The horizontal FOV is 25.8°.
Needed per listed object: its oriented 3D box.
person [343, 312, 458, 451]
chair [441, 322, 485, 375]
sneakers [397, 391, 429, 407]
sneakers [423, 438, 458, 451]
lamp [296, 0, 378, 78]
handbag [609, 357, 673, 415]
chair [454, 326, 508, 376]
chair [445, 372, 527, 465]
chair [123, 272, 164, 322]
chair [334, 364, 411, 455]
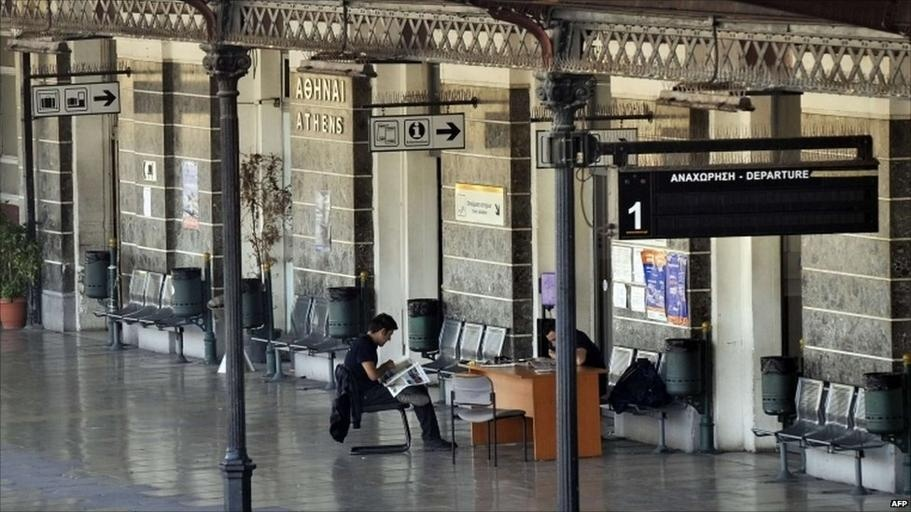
[{"bbox_3d":[-0.870,1.802,27.547,1.277,1.829,0.451,-1,11,-2],"label":"person"},{"bbox_3d":[0.107,1.409,29.884,0.671,0.744,0.487,18,0,20],"label":"chair"},{"bbox_3d":[-0.557,2.011,27.381,0.315,0.127,0.227,1,-6,10],"label":"sneakers"},{"bbox_3d":[-0.188,2.666,27.500,0.497,0.206,0.175,-2,0,-7],"label":"sneakers"},{"bbox_3d":[-1.506,-2.811,25.925,0.894,0.695,0.312,3,1,35],"label":"lamp"},{"bbox_3d":[2.609,1.860,27.609,0.900,0.734,0.291,1,12,11],"label":"handbag"},{"bbox_3d":[0.299,1.292,29.434,0.682,0.713,0.829,-11,5,-12],"label":"chair"},{"bbox_3d":[0.506,2.221,27.321,1.047,1.227,1.393,0,11,2],"label":"chair"},{"bbox_3d":[-5.361,0.753,34.098,0.569,0.709,0.629,12,22,15],"label":"chair"},{"bbox_3d":[-1.147,2.164,27.813,1.109,1.175,0.921,-2,-4,0],"label":"chair"}]
